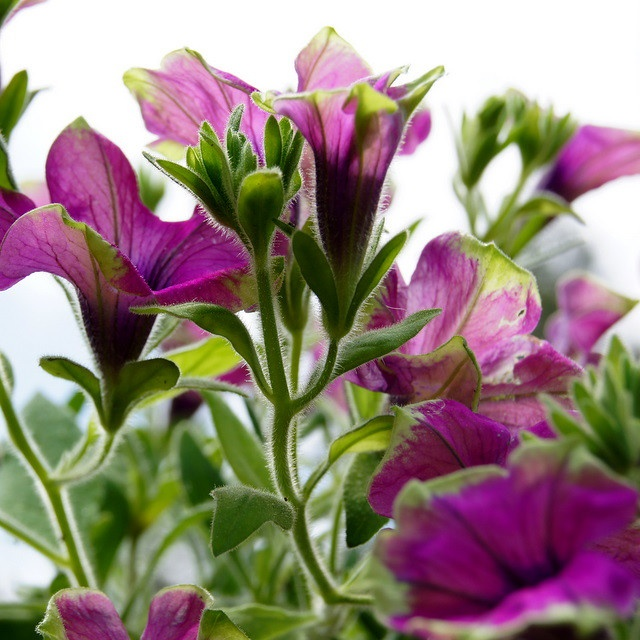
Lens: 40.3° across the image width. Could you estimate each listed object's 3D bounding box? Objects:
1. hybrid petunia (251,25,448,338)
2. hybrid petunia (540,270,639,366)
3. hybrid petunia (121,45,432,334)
[{"bbox_3d":[0.014,-0.086,0.528,0.098,0.195,0.102,4,4,27],"label":"hybrid petunia"},{"bbox_3d":[0.270,-0.008,0.892,0.043,0.103,0.095,17,47,9],"label":"hybrid petunia"},{"bbox_3d":[-0.030,-0.085,0.591,0.228,0.106,0.234,26,-8,-25],"label":"hybrid petunia"}]
